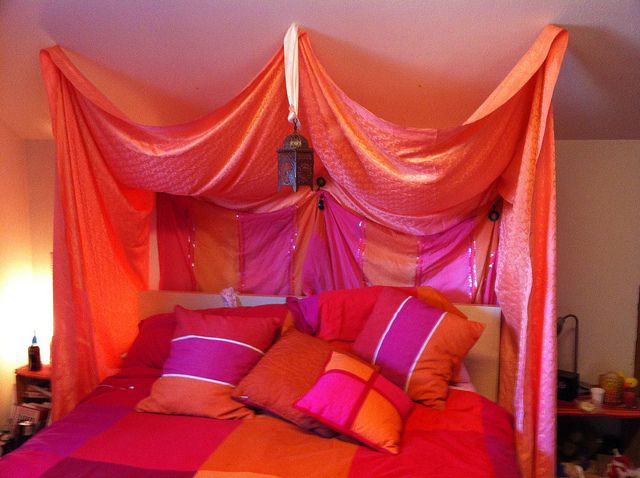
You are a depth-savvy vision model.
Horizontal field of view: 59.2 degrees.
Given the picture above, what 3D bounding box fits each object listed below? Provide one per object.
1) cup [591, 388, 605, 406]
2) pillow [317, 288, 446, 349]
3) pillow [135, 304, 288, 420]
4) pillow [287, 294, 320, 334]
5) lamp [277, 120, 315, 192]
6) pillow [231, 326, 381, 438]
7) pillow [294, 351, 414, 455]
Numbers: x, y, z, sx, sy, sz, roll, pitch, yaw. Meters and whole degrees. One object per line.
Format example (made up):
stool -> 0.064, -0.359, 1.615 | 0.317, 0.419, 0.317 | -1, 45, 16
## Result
cup -> 1.686, 0.959, 3.426 | 0.076, 0.115, 0.077 | 2, -10, 0
pillow -> 0.279, 0.421, 3.398 | 0.478, 0.156, 0.433 | -5, 25, 11
pillow -> -0.775, 0.572, 3.418 | 0.825, 0.280, 0.831 | -4, -1, -24
pillow -> -0.107, 0.475, 3.475 | 0.214, 0.210, 0.083 | 8, -25, -36
lamp -> -0.131, -0.430, 2.958 | 0.209, 0.377, 0.200 | 0, -10, 12
pillow -> -0.152, 0.744, 2.941 | 0.454, 0.136, 0.493 | 17, 33, 14
pillow -> 0.217, 0.819, 2.875 | 0.574, 0.193, 0.606 | 30, 25, 18
